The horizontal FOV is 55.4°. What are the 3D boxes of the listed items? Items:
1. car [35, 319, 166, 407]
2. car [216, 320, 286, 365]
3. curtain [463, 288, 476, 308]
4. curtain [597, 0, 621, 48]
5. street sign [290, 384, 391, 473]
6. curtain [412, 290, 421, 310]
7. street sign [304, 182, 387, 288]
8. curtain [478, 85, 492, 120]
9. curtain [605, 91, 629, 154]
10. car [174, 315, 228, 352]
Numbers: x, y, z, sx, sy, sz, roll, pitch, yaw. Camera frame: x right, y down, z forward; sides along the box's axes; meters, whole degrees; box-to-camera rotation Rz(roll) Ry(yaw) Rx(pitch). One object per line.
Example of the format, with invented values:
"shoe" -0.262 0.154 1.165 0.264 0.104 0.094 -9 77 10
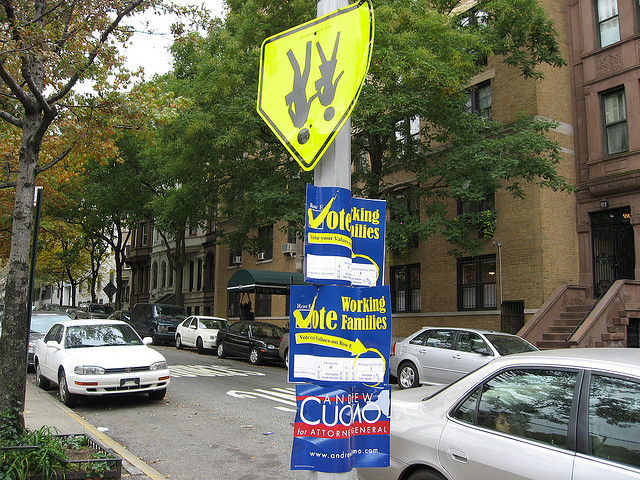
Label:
"car" -4.813 2.652 13.480 2.091 1.821 2.896 4 -11 -33
"car" -2.445 3.814 22.666 1.283 0.984 2.636 10 -13 -33
"curtain" 5.652 2.224 23.094 0.175 0.779 0.696 2 -9 -21
"curtain" 10.072 -7.728 21.266 0.137 1.848 0.794 2 -9 -25
"street sign" 0.177 1.591 5.127 0.727 0.613 0.100 2 -12 -8
"curtain" 4.010 2.554 25.620 0.105 0.837 0.332 3 -10 -31
"street sign" 0.229 -0.030 5.205 0.750 0.883 0.245 1 -9 -17
"curtain" 6.476 -5.205 23.747 0.879 1.663 0.062 -24 29 -28
"curtain" 10.130 -3.979 20.860 0.171 2.253 0.868 8 -14 -42
"car" -5.097 4.090 26.344 1.251 0.935 2.491 5 -10 -29
